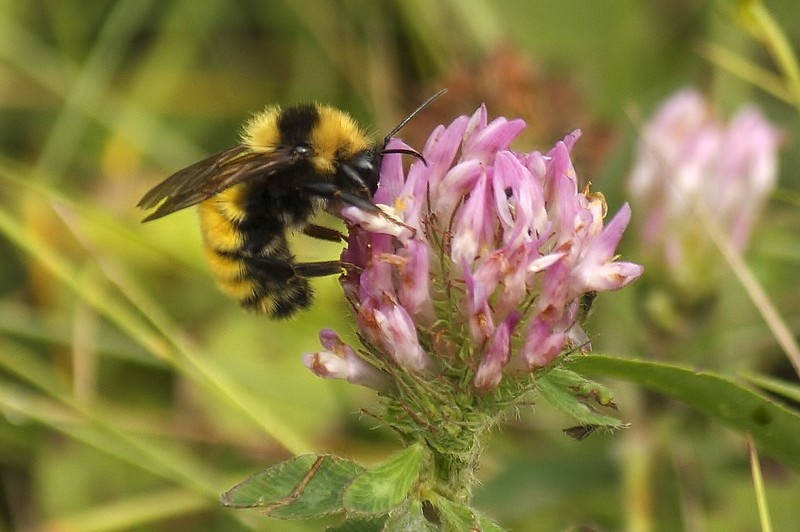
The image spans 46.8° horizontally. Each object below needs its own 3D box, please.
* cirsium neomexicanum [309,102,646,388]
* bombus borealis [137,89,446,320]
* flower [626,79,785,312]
[{"bbox_3d":[0.268,-0.065,2.977,0.934,0.825,0.393,-14,15,12],"label":"cirsium neomexicanum"},{"bbox_3d":[-0.386,-0.262,3.249,1.094,0.490,0.748,-7,10,31],"label":"bombus borealis"},{"bbox_3d":[1.234,-0.341,3.910,0.441,1.073,0.611,2,-2,-10],"label":"flower"}]
